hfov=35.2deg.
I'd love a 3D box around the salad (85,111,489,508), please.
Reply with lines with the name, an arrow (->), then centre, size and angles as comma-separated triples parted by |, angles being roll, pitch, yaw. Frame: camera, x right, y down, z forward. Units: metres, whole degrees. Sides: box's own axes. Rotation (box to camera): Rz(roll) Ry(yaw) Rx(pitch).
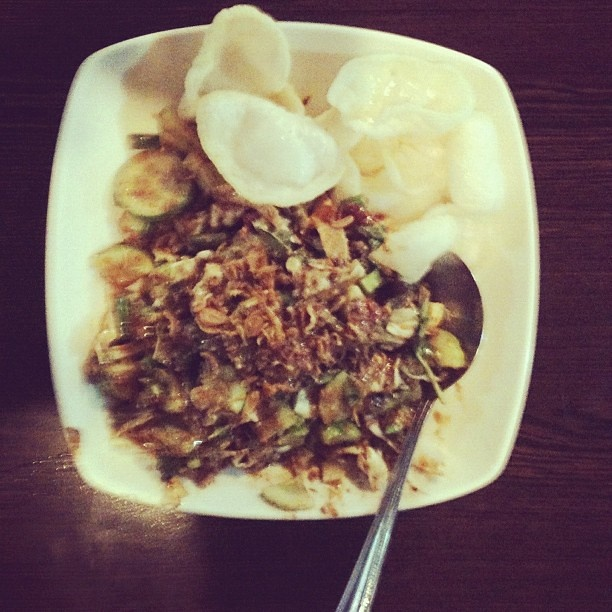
salad -> -0.140, 0.076, 2.081 | 0.891, 0.134, 0.764 | 30, 84, 3
